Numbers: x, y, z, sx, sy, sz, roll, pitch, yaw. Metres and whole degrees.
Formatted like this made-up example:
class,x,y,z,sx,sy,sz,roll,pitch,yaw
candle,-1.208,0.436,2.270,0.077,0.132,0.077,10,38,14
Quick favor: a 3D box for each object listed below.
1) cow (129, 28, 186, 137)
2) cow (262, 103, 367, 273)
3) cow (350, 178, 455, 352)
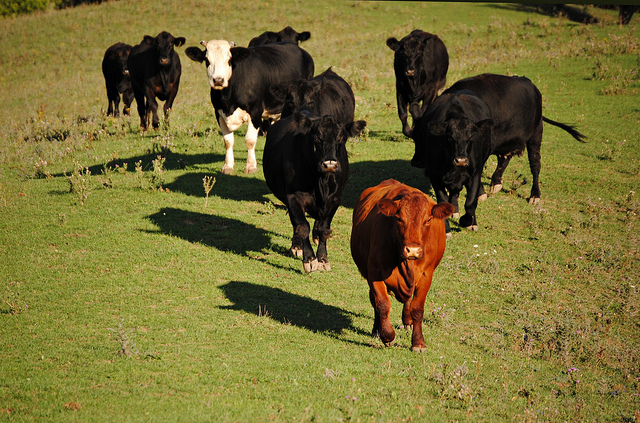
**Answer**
class,x,y,z,sx,sy,sz,roll,pitch,yaw
cow,-6.806,-5.464,31.899,2.114,3.968,4.093,-3,17,-14
cow,-0.458,-0.662,23.110,2.637,4.661,1.558,12,20,36
cow,2.100,1.556,20.570,2.475,4.267,1.508,11,19,32
